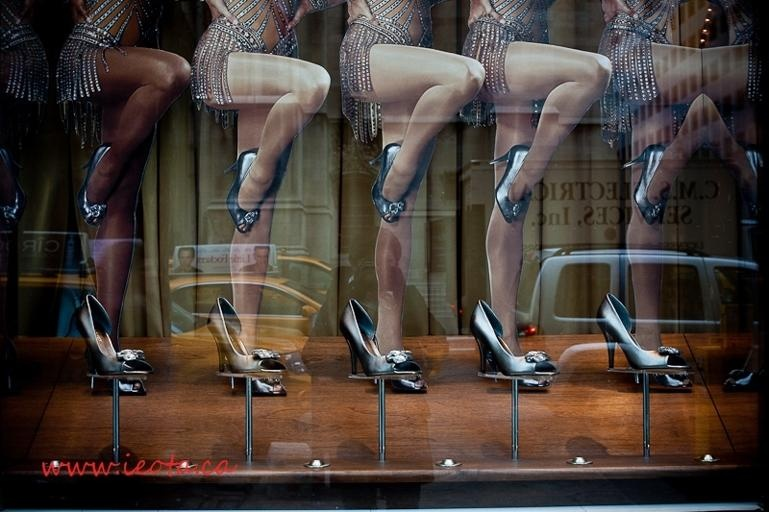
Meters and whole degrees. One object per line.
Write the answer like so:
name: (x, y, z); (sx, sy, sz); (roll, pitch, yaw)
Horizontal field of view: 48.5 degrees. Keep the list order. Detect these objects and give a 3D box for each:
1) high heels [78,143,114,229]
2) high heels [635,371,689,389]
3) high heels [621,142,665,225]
high heels: (-1.582, -0.388, 4.652); (0.153, 0.404, 0.106); (18, 1, -21)
high heels: (1.549, 0.696, 4.834); (0.333, 0.141, 0.114); (-1, -1, -3)
high heels: (1.469, -0.392, 4.835); (0.170, 0.518, 0.189); (2, 10, 9)
